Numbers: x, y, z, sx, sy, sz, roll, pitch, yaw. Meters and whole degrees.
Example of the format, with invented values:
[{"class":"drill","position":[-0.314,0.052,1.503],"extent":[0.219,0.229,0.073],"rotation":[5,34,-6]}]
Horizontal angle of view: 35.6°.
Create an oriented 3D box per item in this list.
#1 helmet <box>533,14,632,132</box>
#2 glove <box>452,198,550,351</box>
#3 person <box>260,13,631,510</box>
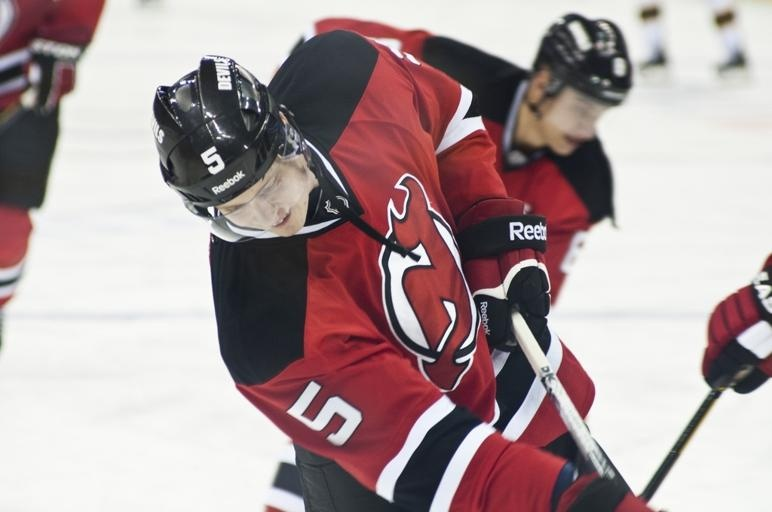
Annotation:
[{"class":"helmet","position":[0.936,-0.867,5.540],"extent":[0.348,0.228,0.446],"rotation":[0,51,-33]},{"class":"glove","position":[0.518,0.095,5.128],"extent":[0.229,0.612,0.442],"rotation":[-10,-9,32]},{"class":"person","position":[0.241,0.059,5.092],"extent":[0.754,2.182,1.109],"rotation":[17,46,13]}]
